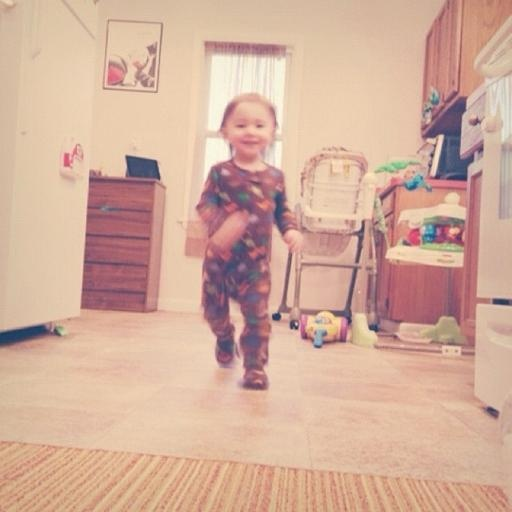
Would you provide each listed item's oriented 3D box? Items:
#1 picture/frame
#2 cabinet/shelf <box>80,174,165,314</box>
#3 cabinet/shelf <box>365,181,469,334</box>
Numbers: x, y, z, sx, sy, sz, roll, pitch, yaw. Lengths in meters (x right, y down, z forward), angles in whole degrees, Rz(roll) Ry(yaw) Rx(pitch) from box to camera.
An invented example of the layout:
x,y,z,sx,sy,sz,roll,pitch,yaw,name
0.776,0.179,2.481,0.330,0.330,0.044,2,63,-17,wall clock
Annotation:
x,y,z,sx,sy,sz,roll,pitch,yaw,name
-0.988,-1.609,3.635,0.432,0.632,0.022,2,-12,-7,picture/frame
-0.907,-0.055,3.293,0.569,0.940,0.490,3,-4,17,cabinet/shelf
0.902,0.014,2.454,0.445,0.867,0.849,4,1,16,cabinet/shelf
